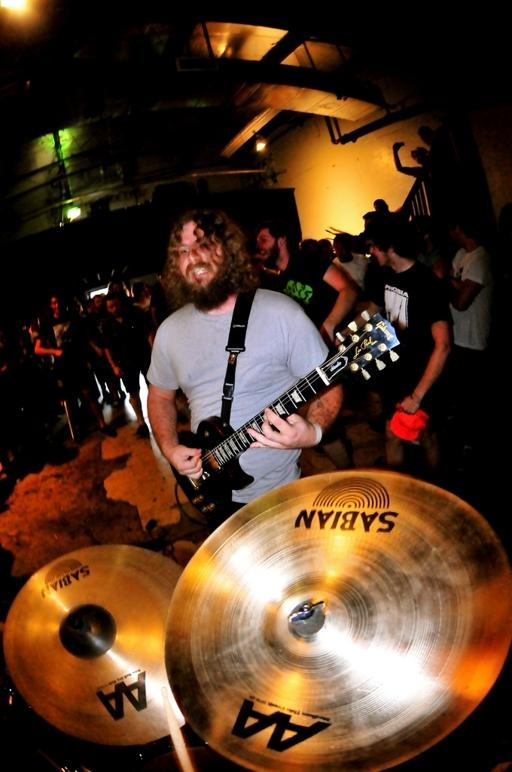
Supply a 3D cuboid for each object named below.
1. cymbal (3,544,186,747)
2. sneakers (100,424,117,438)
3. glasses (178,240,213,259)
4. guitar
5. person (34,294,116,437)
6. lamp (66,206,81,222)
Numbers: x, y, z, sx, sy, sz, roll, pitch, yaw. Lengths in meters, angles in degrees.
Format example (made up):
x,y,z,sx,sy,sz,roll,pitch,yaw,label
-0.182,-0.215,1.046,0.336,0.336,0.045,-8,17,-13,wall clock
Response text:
x,y,z,sx,sy,sz,roll,pitch,yaw,label
-0.523,0.789,1.787,0.534,0.230,0.585,-6,31,6,cymbal
-1.606,0.494,6.131,0.228,0.098,0.086,17,83,35,sneakers
-0.265,-0.562,2.395,0.121,0.029,0.085,3,4,-23,glasses
0.043,0.144,2.161,0.143,1.341,0.457,0,55,-43,guitar
-1.956,-0.201,6.037,0.646,0.184,1.677,-45,54,17,person
-2.744,-2.575,8.443,0.239,0.144,0.379,-19,32,-17,lamp
